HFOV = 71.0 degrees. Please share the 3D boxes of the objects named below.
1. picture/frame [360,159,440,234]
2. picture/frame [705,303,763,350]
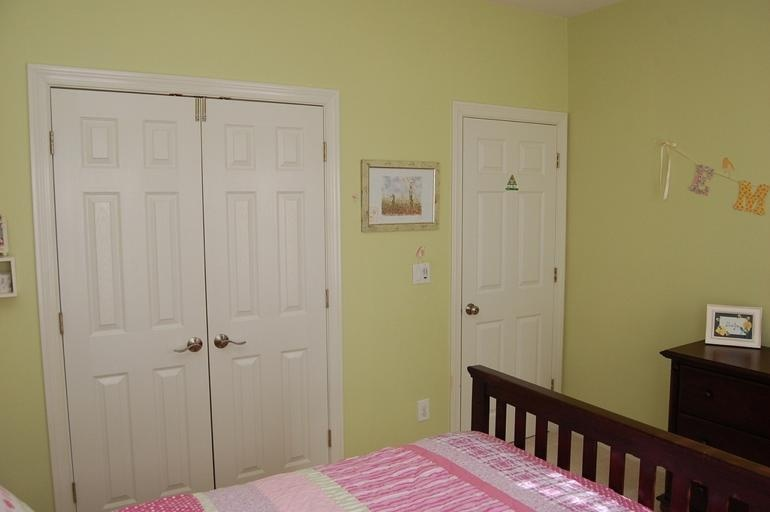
[{"bbox_3d":[0.082,-0.427,3.770,0.538,0.445,0.023,-2,2,-30],"label":"picture/frame"},{"bbox_3d":[2.206,0.446,3.413,0.285,0.270,0.020,1,-7,25],"label":"picture/frame"}]
